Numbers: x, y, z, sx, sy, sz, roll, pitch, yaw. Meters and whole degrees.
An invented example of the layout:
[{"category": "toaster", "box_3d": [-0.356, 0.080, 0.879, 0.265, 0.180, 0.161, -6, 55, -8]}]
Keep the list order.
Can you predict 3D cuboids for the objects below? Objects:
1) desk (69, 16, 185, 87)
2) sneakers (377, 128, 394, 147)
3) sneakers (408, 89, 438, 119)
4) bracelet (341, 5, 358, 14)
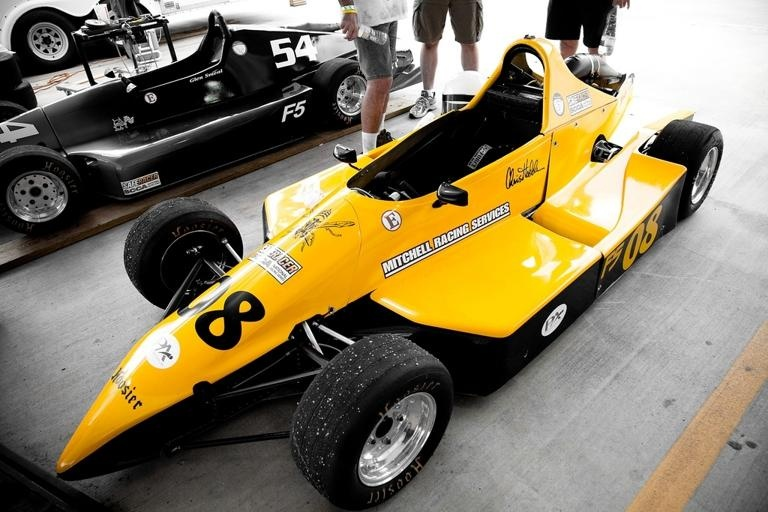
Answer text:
[{"category": "desk", "box_3d": [-2.310, -1.816, 4.685, 0.641, 0.625, 0.568, 3, 68, -13]}, {"category": "sneakers", "box_3d": [0.007, -0.872, 3.881, 0.079, 0.100, 0.242, 3, 23, 13]}, {"category": "sneakers", "box_3d": [0.363, -1.417, 4.876, 0.137, 0.190, 0.396, 28, 58, 21]}, {"category": "bracelet", "box_3d": [-0.249, -1.672, 3.535, 0.093, 0.042, 0.110, -8, 43, -5]}]
